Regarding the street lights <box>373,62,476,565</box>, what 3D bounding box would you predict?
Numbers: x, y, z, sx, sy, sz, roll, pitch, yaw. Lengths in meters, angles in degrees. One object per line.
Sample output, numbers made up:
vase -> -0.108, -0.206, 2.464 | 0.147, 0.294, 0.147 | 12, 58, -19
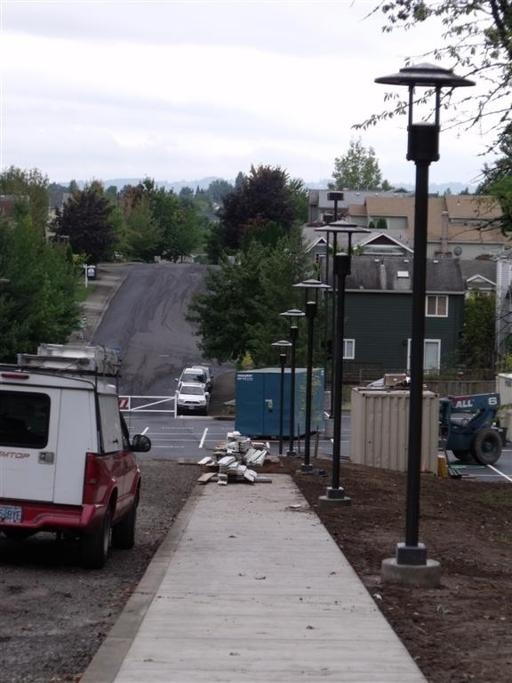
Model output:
street lights -> 1.479, -0.243, 10.587 | 0.635, 4.610, 0.666 | 1, 3, 9
